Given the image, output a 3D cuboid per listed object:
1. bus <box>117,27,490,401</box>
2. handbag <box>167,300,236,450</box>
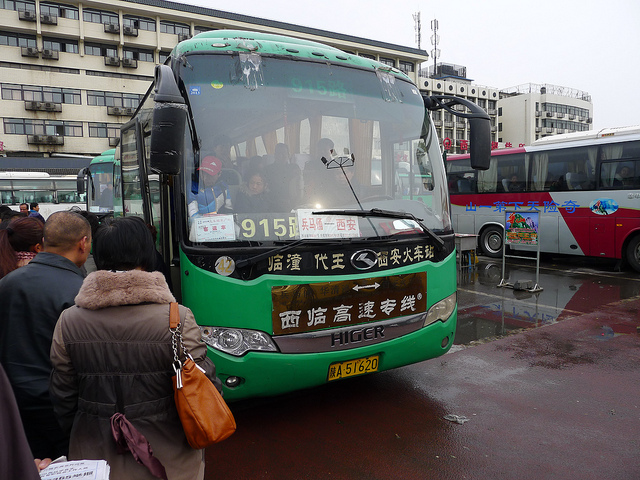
[{"bbox_3d":[-1.013,-0.202,6.564,2.085,2.652,5.454,-1,-2,-23],"label":"bus"},{"bbox_3d":[-0.681,0.752,2.528,0.375,0.754,0.159,2,8,19],"label":"handbag"}]
